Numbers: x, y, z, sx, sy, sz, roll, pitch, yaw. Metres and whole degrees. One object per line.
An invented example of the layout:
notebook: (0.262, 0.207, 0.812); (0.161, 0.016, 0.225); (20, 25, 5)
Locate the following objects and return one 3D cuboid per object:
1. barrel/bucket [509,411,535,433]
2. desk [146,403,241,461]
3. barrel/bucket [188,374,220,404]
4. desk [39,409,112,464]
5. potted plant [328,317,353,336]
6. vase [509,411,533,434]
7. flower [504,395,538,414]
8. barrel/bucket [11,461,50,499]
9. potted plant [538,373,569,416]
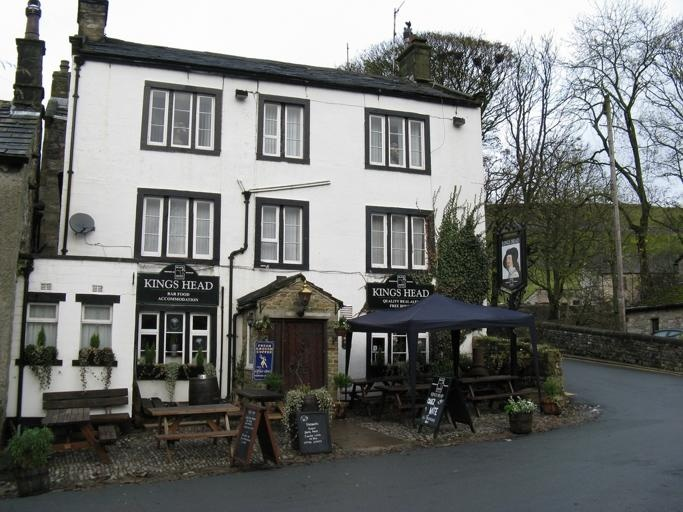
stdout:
barrel/bucket: (4.485, 4.096, 15.641); (0.483, 0.493, 0.525); (0, -10, 0)
desk: (-3.512, 3.937, 14.748); (1.651, 0.840, 1.654); (5, -14, -25)
barrel/bucket: (-3.885, 3.721, 17.667); (0.684, 0.765, 0.738); (-1, -10, 0)
desk: (-5.958, 3.897, 13.743); (1.540, 1.047, 1.519); (-2, 0, -6)
potted plant: (-0.003, 2.149, 19.168); (0.460, 0.525, 0.511); (2, -10, -7)
vase: (4.488, 4.160, 15.691); (0.484, 0.493, 0.527); (0, -9, 0)
flower: (4.758, 3.917, 16.581); (0.755, 0.643, 0.843); (0, -6, -1)
barrel/bucket: (-5.861, 4.224, 11.899); (0.586, 0.588, 0.398); (0, 0, -25)
potted plant: (6.101, 3.974, 18.043); (0.842, 1.522, 0.901); (1, -11, 1)
